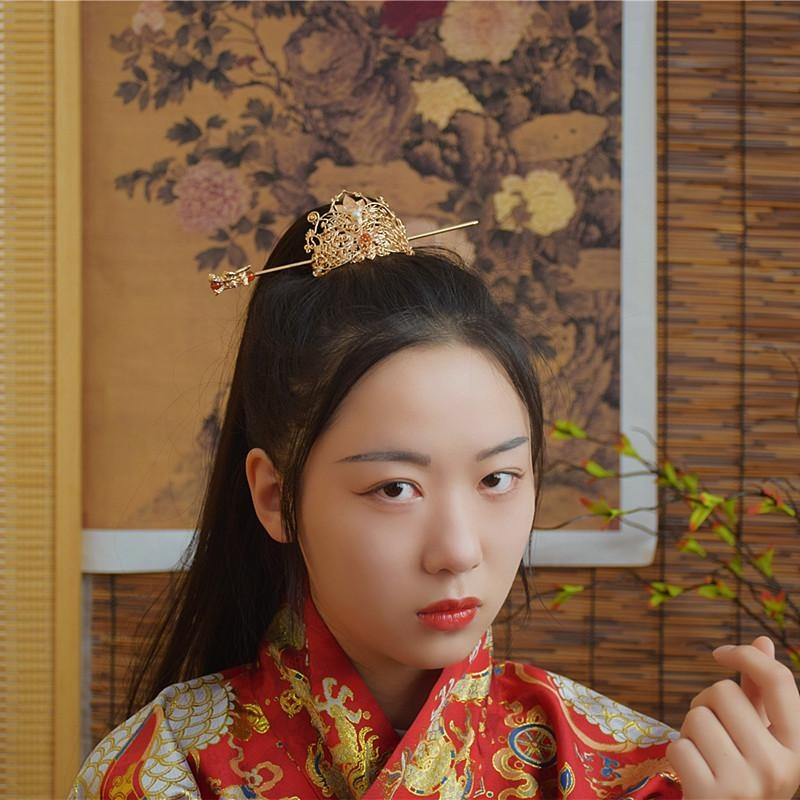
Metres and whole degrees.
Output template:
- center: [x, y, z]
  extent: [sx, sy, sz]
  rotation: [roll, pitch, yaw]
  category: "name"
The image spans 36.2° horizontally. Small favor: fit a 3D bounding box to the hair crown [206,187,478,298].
- center: [-0.073, -0.229, 1.782]
  extent: [0.452, 0.110, 0.140]
  rotation: [-14, 16, 4]
  category: "hair crown"
